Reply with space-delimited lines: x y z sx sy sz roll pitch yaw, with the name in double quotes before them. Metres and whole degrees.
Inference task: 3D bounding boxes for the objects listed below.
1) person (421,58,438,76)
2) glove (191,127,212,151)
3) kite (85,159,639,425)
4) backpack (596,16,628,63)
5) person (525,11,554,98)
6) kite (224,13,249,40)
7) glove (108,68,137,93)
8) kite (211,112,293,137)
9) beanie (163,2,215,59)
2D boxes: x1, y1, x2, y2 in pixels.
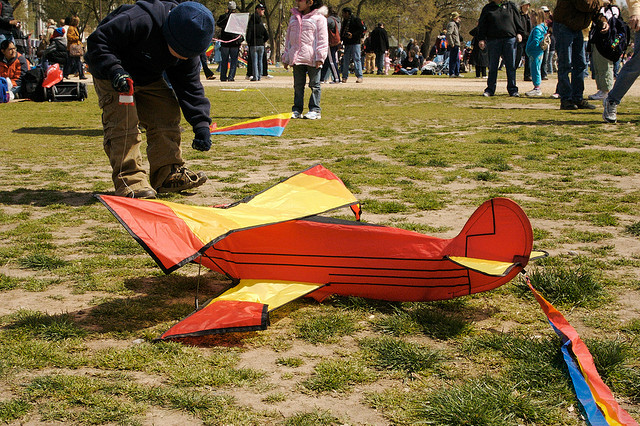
"person" 4.726 -6.281 35.293 0.852 0.325 0.998 10 39 5
"glove" -1.212 -0.753 8.163 0.175 0.232 0.208 -2 11 -9
"kite" 0.278 0.397 5.971 2.661 0.742 2.073 5 13 26
"backpack" 4.944 -2.970 13.691 0.492 0.747 0.807 4 12 19
"person" 4.650 -3.390 17.312 0.457 1.783 1.301 3 11 14
"kite" -2.184 -4.802 20.827 0.541 0.809 0.694 -16 58 -13
"glove" -1.822 -1.201 7.387 0.192 0.100 0.235 -19 63 -34
"kite" -1.072 -1.315 12.136 1.109 0.294 0.869 0 10 2
"beanie" -1.223 -1.641 7.363 0.468 0.460 0.414 10 -28 -33
